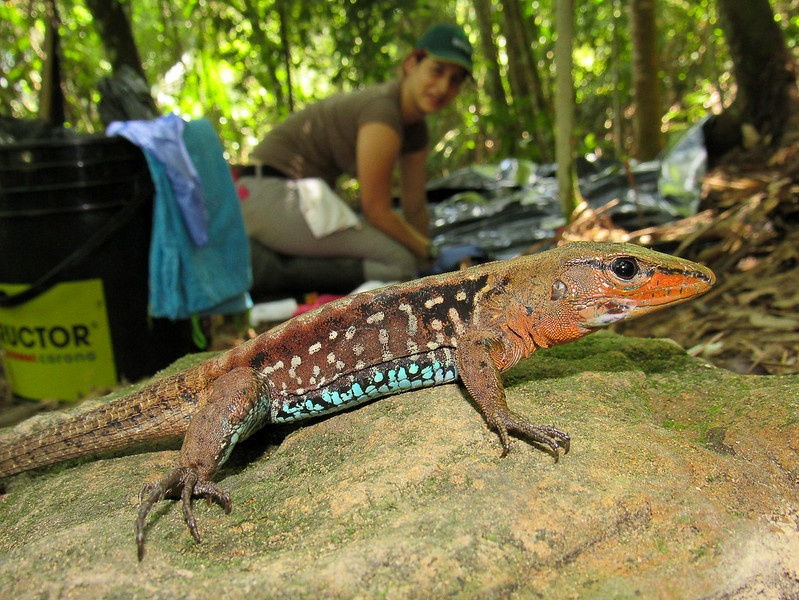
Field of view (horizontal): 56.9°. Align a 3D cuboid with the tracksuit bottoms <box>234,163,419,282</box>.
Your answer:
[{"bbox_3d":[-0.709,-0.594,6.790,1.125,0.416,1.160,10,8,-23],"label":"tracksuit bottoms"}]
